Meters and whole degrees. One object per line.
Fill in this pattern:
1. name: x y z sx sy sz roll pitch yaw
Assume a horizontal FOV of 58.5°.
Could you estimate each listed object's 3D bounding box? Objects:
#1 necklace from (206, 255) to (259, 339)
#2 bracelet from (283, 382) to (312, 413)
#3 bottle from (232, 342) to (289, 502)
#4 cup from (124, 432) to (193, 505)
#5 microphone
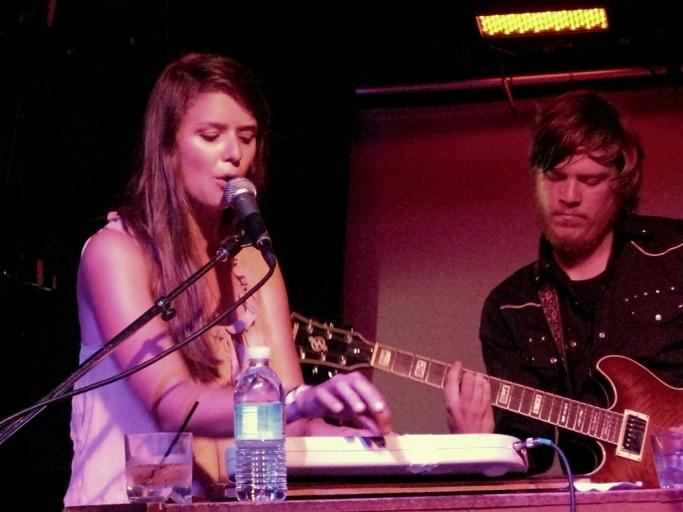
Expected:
1. necklace: -0.365 0.152 2.185 0.167 0.247 0.090 12 -15 21
2. bracelet: -0.102 0.346 1.481 0.065 0.018 0.048 -37 19 1
3. bottle: -0.172 0.349 1.283 0.115 0.291 0.353 0 8 -7
4. cup: -0.366 0.460 1.326 0.137 0.160 0.147 -1 -15 0
5. microphone: -0.218 -0.089 1.523 0.094 0.098 0.316 -15 46 -7
